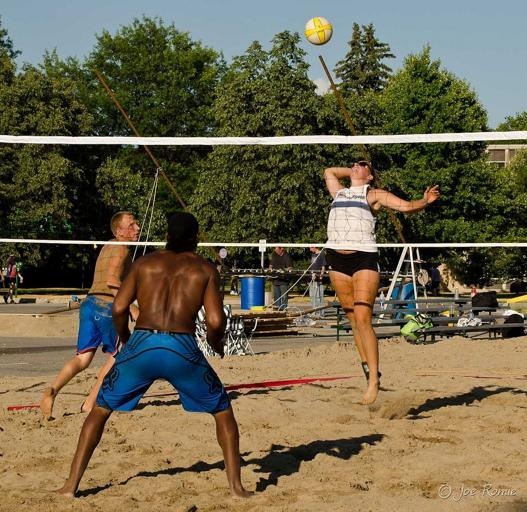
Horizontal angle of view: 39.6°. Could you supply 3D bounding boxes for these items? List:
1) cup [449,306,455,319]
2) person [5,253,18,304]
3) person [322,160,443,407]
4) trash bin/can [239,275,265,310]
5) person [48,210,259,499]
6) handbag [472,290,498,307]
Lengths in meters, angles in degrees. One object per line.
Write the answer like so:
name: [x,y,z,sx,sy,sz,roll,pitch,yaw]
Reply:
cup: [3.160,0.924,12.185,0.091,0.180,0.294,0,3,14]
person: [-9.029,0.799,26.202,0.400,1.612,2.822,-2,3,-19]
person: [0.863,0.219,6.303,0.636,2.085,1.185,-2,3,-27]
trash bin/can: [-0.288,0.899,18.637,0.733,0.854,0.743,-1,6,-21]
person: [-0.580,0.578,4.223,0.997,1.657,0.370,-1,2,-3]
handbag: [3.997,0.806,13.165,0.293,0.155,0.379,-2,12,9]
